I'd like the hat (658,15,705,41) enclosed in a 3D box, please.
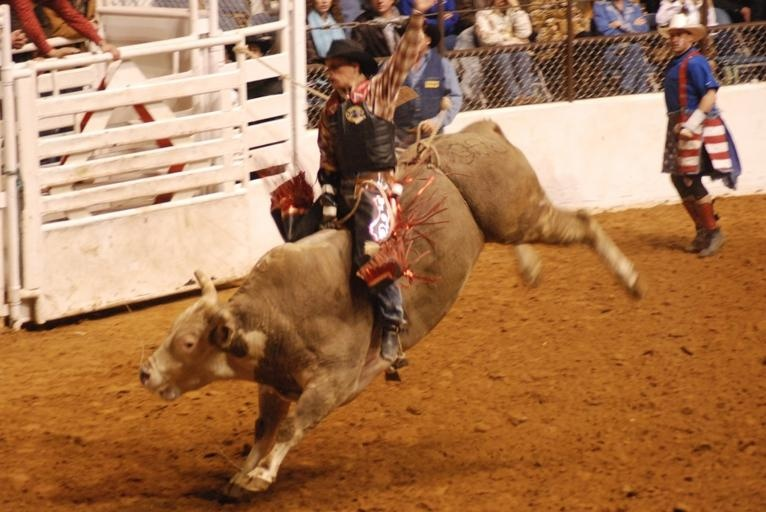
[{"bbox_3d":[3.288,-2.531,10.274,0.409,0.139,0.449,-17,-25,37],"label":"hat"}]

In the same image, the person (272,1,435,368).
[{"bbox_3d":[-0.175,-0.867,6.931,0.843,1.898,0.753,10,24,37],"label":"person"}]

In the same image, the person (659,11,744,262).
[{"bbox_3d":[3.458,-1.320,10.413,0.814,2.598,0.697,6,22,29],"label":"person"}]

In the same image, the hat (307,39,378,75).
[{"bbox_3d":[-0.204,-1.451,6.964,0.276,0.268,0.416,8,19,33],"label":"hat"}]

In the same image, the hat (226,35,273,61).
[{"bbox_3d":[-1.531,-2.366,10.816,0.567,0.293,0.738,-5,15,-6],"label":"hat"}]
